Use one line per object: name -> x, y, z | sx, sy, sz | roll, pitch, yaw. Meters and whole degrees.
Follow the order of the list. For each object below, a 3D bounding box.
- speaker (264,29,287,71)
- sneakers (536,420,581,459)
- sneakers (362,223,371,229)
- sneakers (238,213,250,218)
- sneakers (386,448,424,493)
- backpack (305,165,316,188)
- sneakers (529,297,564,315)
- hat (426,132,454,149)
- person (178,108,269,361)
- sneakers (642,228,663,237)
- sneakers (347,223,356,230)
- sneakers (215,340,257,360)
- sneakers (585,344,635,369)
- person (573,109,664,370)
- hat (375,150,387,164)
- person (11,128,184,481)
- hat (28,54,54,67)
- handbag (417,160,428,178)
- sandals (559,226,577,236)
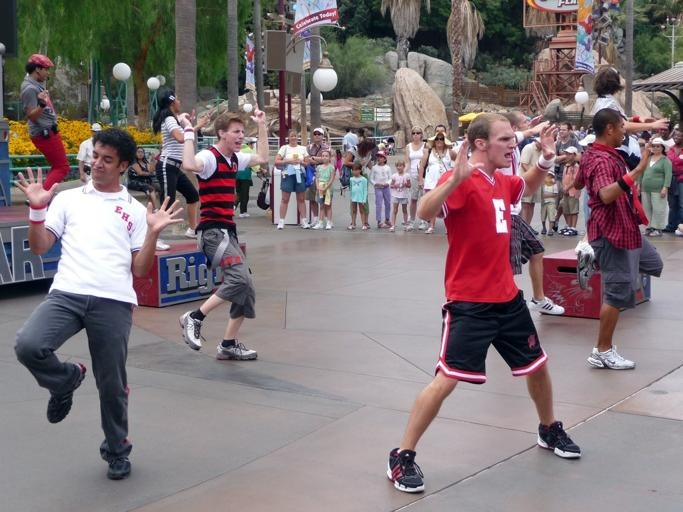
speaker -> -1.700, -5.291, 17.776 | 0.523, 1.001, 0.851 | -1, 10, -6
sneakers -> 1.452, 1.234, 4.718 | 0.142, 0.192, 0.361 | -9, 14, -36
sneakers -> 0.521, -0.672, 15.576 | 0.092, 0.108, 0.258 | 1, 11, 8
sneakers -> -2.495, -1.045, 17.730 | 0.293, 0.116, 0.142 | -4, -13, -3
sneakers -> 0.393, 1.334, 4.392 | 0.130, 0.149, 0.315 | 0, -2, -17
backpack -> -0.708, -1.827, 15.636 | 0.179, 0.502, 0.427 | 2, 10, 13
sneakers -> 2.350, 0.565, 8.124 | 0.403, 0.193, 0.159 | 3, 9, 3
hat -> 2.086, -2.441, 14.311 | 0.339, 0.178, 0.459 | 12, 1, 16
person -> -1.180, -0.243, 6.880 | 0.921, 2.356, 1.018 | -2, 9, -9
sneakers -> 6.215, -0.473, 13.942 | 0.451, 0.206, 0.148 | 3, -1, -42
sneakers -> 0.214, -0.680, 15.516 | 0.163, 0.128, 0.263 | 0, 10, 0
sneakers -> -1.006, 0.899, 6.722 | 0.339, 0.171, 0.174 | 1, -4, -4
sneakers -> 2.414, 0.930, 6.407 | 0.447, 0.251, 0.177 | 2, 2, 4
person -> 2.417, -0.162, 6.329 | 0.584, 2.306, 1.048 | 4, 10, 24
hat -> 0.871, -2.166, 15.454 | 0.221, 0.331, 0.307 | -2, -19, 7
person -> -1.643, 0.292, 4.494 | 0.782, 2.199, 0.617 | -3, 10, -17
hat -> -4.368, -2.824, 10.075 | 0.303, 0.180, 0.276 | -3, 11, -16
handbag -> 1.683, -1.808, 14.519 | 0.208, 0.441, 0.301 | 5, 10, 29
sandals -> 4.544, -0.511, 13.908 | 0.170, 0.138, 0.324 | 4, 5, 36
